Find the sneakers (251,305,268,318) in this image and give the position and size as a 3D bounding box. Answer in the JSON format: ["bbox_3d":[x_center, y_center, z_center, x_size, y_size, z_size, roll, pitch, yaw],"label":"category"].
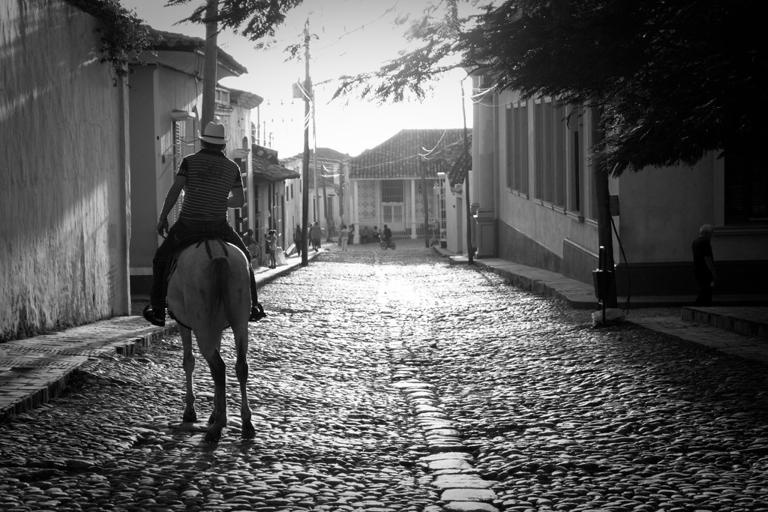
[{"bbox_3d":[-1.442,0.654,8.281,0.134,0.187,0.187,3,-13,-10],"label":"sneakers"}]

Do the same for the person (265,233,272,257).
[{"bbox_3d":[-5.220,-0.556,32.547,0.231,0.932,0.859,-2,2,-8],"label":"person"}]

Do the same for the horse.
[{"bbox_3d":[-1.865,0.848,7.663,1.067,2.054,0.664,-1,2,33],"label":"horse"}]
